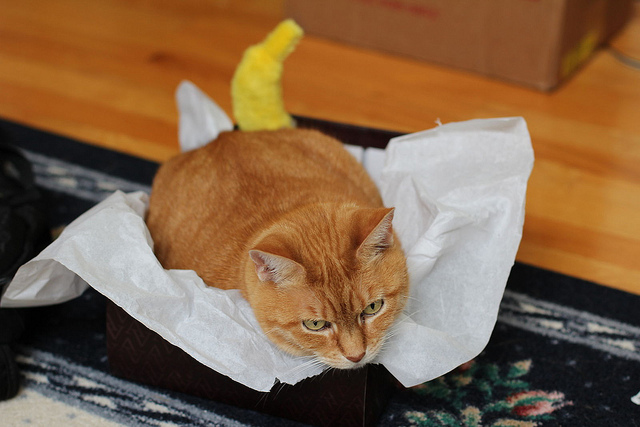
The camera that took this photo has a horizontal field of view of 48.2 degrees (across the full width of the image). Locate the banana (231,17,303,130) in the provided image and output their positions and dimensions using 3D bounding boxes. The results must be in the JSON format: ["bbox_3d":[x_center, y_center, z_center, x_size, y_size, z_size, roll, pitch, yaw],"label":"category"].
[{"bbox_3d":[-0.163,-0.405,2.144,0.208,0.336,0.156,1,56,-3],"label":"banana"}]
